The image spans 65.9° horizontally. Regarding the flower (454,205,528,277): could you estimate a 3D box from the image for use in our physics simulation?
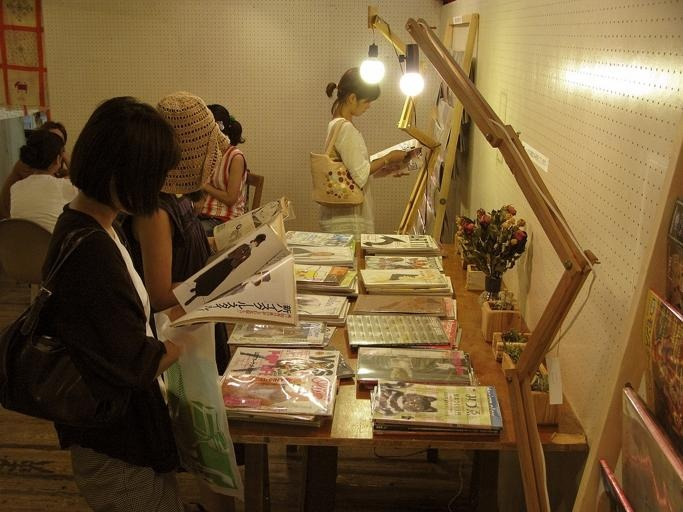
[{"bbox_3d":[0.681,-0.098,2.424,0.324,0.361,0.306,3,12,26],"label":"flower"}]

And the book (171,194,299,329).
[{"bbox_3d":[-0.306,0.053,1.470,0.340,0.287,0.214,3,4,-12],"label":"book"}]

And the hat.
[{"bbox_3d":[-0.540,-0.415,1.892,0.255,0.363,0.214,-1,-36,7],"label":"hat"}]

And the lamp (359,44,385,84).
[{"bbox_3d":[0.193,-1.224,3.376,0.154,0.239,0.164,2,6,20],"label":"lamp"}]

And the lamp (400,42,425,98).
[{"bbox_3d":[0.414,-1.083,3.138,0.155,0.359,0.160,-2,-10,17],"label":"lamp"}]

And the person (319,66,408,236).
[{"bbox_3d":[0.164,-0.691,3.642,0.608,1.105,0.713,4,4,-4],"label":"person"}]

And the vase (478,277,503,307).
[{"bbox_3d":[0.689,0.148,2.361,0.117,0.141,0.126,0,14,-4],"label":"vase"}]
